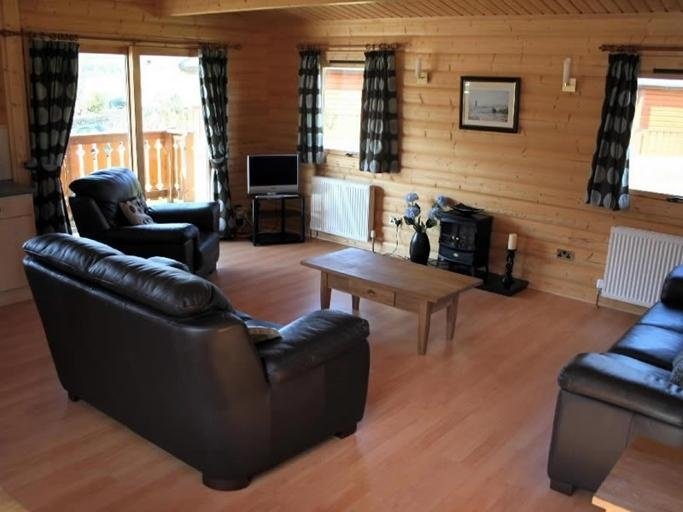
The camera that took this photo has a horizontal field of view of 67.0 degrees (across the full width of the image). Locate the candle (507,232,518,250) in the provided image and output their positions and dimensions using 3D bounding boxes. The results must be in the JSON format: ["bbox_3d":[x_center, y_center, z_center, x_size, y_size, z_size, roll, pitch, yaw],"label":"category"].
[{"bbox_3d":[1.882,-0.160,5.673,0.085,0.181,0.182,4,17,13],"label":"candle"}]

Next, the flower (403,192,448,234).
[{"bbox_3d":[0.930,-0.491,6.024,0.570,0.506,0.509,7,15,29],"label":"flower"}]

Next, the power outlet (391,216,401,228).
[{"bbox_3d":[0.695,-0.425,6.672,0.176,0.138,0.170,6,18,20],"label":"power outlet"}]

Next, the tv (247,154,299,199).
[{"bbox_3d":[-0.945,-1.102,7.099,0.618,0.455,0.080,-4,15,-18],"label":"tv"}]

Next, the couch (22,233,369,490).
[{"bbox_3d":[-1.072,0.547,3.580,2.158,1.245,1.377,12,14,34],"label":"couch"}]

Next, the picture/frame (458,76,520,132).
[{"bbox_3d":[1.681,-1.711,5.763,0.615,0.520,0.051,13,21,33],"label":"picture/frame"}]

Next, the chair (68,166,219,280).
[{"bbox_3d":[-2.112,-0.241,5.763,1.341,1.209,1.330,2,17,1],"label":"chair"}]

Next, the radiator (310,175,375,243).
[{"bbox_3d":[-0.052,-0.659,7.143,0.885,0.748,0.110,14,14,24],"label":"radiator"}]

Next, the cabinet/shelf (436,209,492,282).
[{"bbox_3d":[1.423,-0.168,5.998,0.503,0.627,0.344,16,25,38],"label":"cabinet/shelf"}]

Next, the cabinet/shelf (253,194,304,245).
[{"bbox_3d":[-0.888,-0.466,7.403,0.933,0.896,0.708,0,9,-2],"label":"cabinet/shelf"}]

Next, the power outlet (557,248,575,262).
[{"bbox_3d":[2.439,-0.015,5.624,0.183,0.109,0.011,12,21,34],"label":"power outlet"}]

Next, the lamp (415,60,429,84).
[{"bbox_3d":[0.961,-2.203,6.151,0.160,0.273,0.094,-9,19,-27],"label":"lamp"}]

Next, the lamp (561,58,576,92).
[{"bbox_3d":[2.340,-1.851,5.272,0.144,0.346,0.114,7,18,21],"label":"lamp"}]
